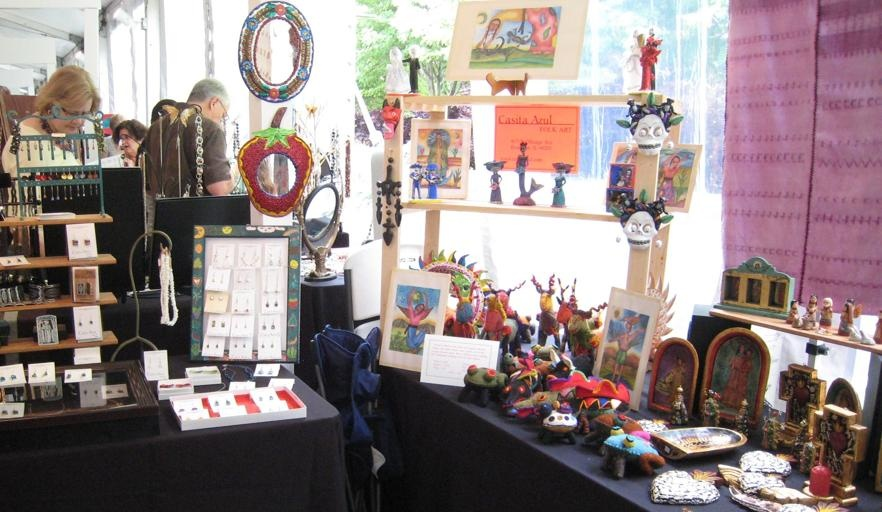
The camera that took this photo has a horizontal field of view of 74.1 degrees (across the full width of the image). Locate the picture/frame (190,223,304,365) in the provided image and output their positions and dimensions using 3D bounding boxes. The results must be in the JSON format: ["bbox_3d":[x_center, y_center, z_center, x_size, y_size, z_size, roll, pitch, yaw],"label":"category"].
[{"bbox_3d":[-1.065,0.217,3.187,0.825,0.903,0.079,0,-5,-4],"label":"picture/frame"}]

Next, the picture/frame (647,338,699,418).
[{"bbox_3d":[1.156,0.596,2.909,0.228,0.382,0.125,3,5,23],"label":"picture/frame"}]

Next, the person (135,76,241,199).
[{"bbox_3d":[-1.925,-0.941,4.445,0.635,0.990,0.808,-1,5,-26],"label":"person"}]

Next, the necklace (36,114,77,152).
[{"bbox_3d":[-2.291,-0.779,3.500,0.158,0.252,0.143,0,-22,-33],"label":"necklace"}]
